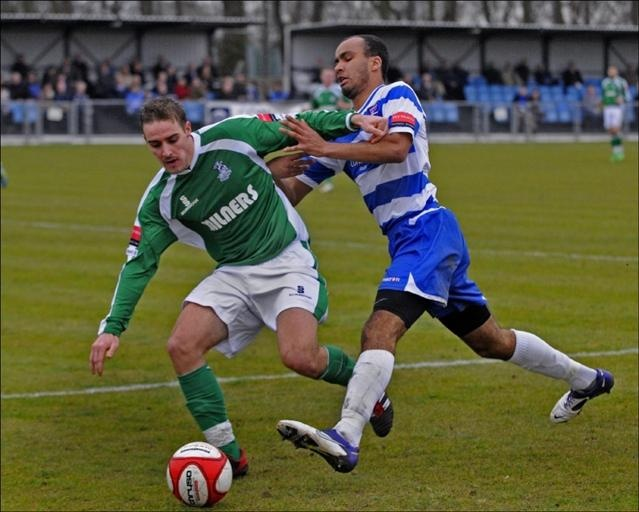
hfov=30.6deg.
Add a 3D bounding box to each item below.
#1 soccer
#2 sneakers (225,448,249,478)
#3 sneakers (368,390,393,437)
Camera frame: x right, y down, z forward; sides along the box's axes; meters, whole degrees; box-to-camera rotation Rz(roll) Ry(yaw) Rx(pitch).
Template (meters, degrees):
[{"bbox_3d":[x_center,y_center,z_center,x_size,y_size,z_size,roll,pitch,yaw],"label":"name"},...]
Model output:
[{"bbox_3d":[-0.830,1.497,8.195,0.402,0.426,0.438,2,41,1],"label":"soccer"},{"bbox_3d":[-0.590,1.511,8.386,0.088,0.109,0.249,-4,12,8],"label":"sneakers"},{"bbox_3d":[0.454,1.179,8.585,0.131,0.349,0.158,-7,26,-8],"label":"sneakers"}]
